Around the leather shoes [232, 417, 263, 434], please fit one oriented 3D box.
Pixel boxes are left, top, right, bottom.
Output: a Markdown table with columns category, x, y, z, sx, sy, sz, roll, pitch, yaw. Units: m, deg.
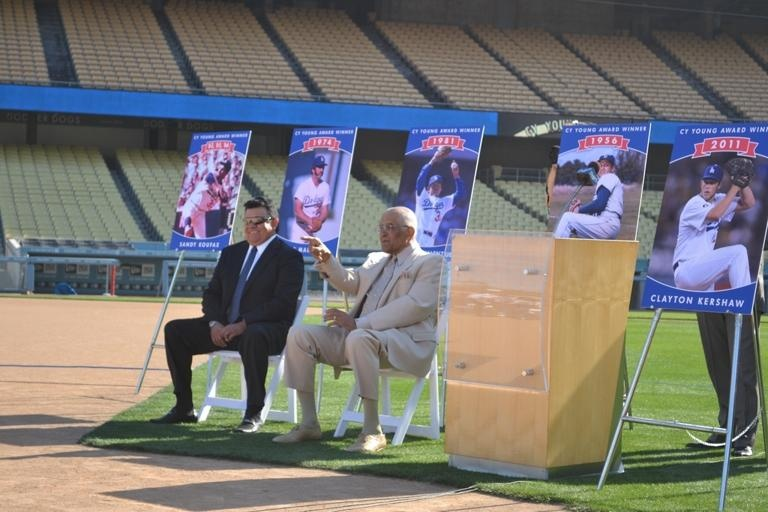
| category | x | y | z | sx | sy | sz | roll | pitch | yaw |
| --- | --- | --- | --- | --- | --- | --- | --- | --- | --- |
| leather shoes | -2.464 | 3.015 | 27.096 | 0.472 | 0.260 | 0.217 | 1 | 2 | -8 |

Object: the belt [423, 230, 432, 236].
| category | x | y | z | sx | sy | sz | roll | pitch | yaw |
| --- | --- | --- | --- | --- | --- | --- | --- | --- | --- |
| belt | 0.772 | -0.444 | 28.564 | 0.144 | 0.068 | 0.034 | 9 | -4 | 17 |

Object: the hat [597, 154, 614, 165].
| category | x | y | z | sx | sy | sz | roll | pitch | yaw |
| --- | --- | --- | --- | --- | --- | --- | --- | --- | --- |
| hat | 4.034 | -1.775 | 27.827 | 0.238 | 0.116 | 0.175 | 4 | -8 | 32 |

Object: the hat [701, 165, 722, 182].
| category | x | y | z | sx | sy | sz | roll | pitch | yaw |
| --- | --- | --- | --- | --- | --- | --- | --- | --- | --- |
| hat | 5.635 | -1.445 | 26.174 | 0.242 | 0.185 | 0.341 | 5 | 3 | 29 |

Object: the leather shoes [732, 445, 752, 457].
| category | x | y | z | sx | sy | sz | roll | pitch | yaw |
| --- | --- | --- | --- | --- | --- | --- | --- | --- | --- |
| leather shoes | 6.266 | 3.402 | 26.597 | 0.281 | 0.123 | 0.188 | -1 | 1 | -22 |

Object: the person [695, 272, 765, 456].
| category | x | y | z | sx | sy | sz | roll | pitch | yaw |
| --- | --- | --- | --- | --- | --- | --- | --- | --- | --- |
| person | 6.070 | 1.940 | 26.723 | 1.035 | 3.060 | 0.639 | 2 | 2 | 13 |
